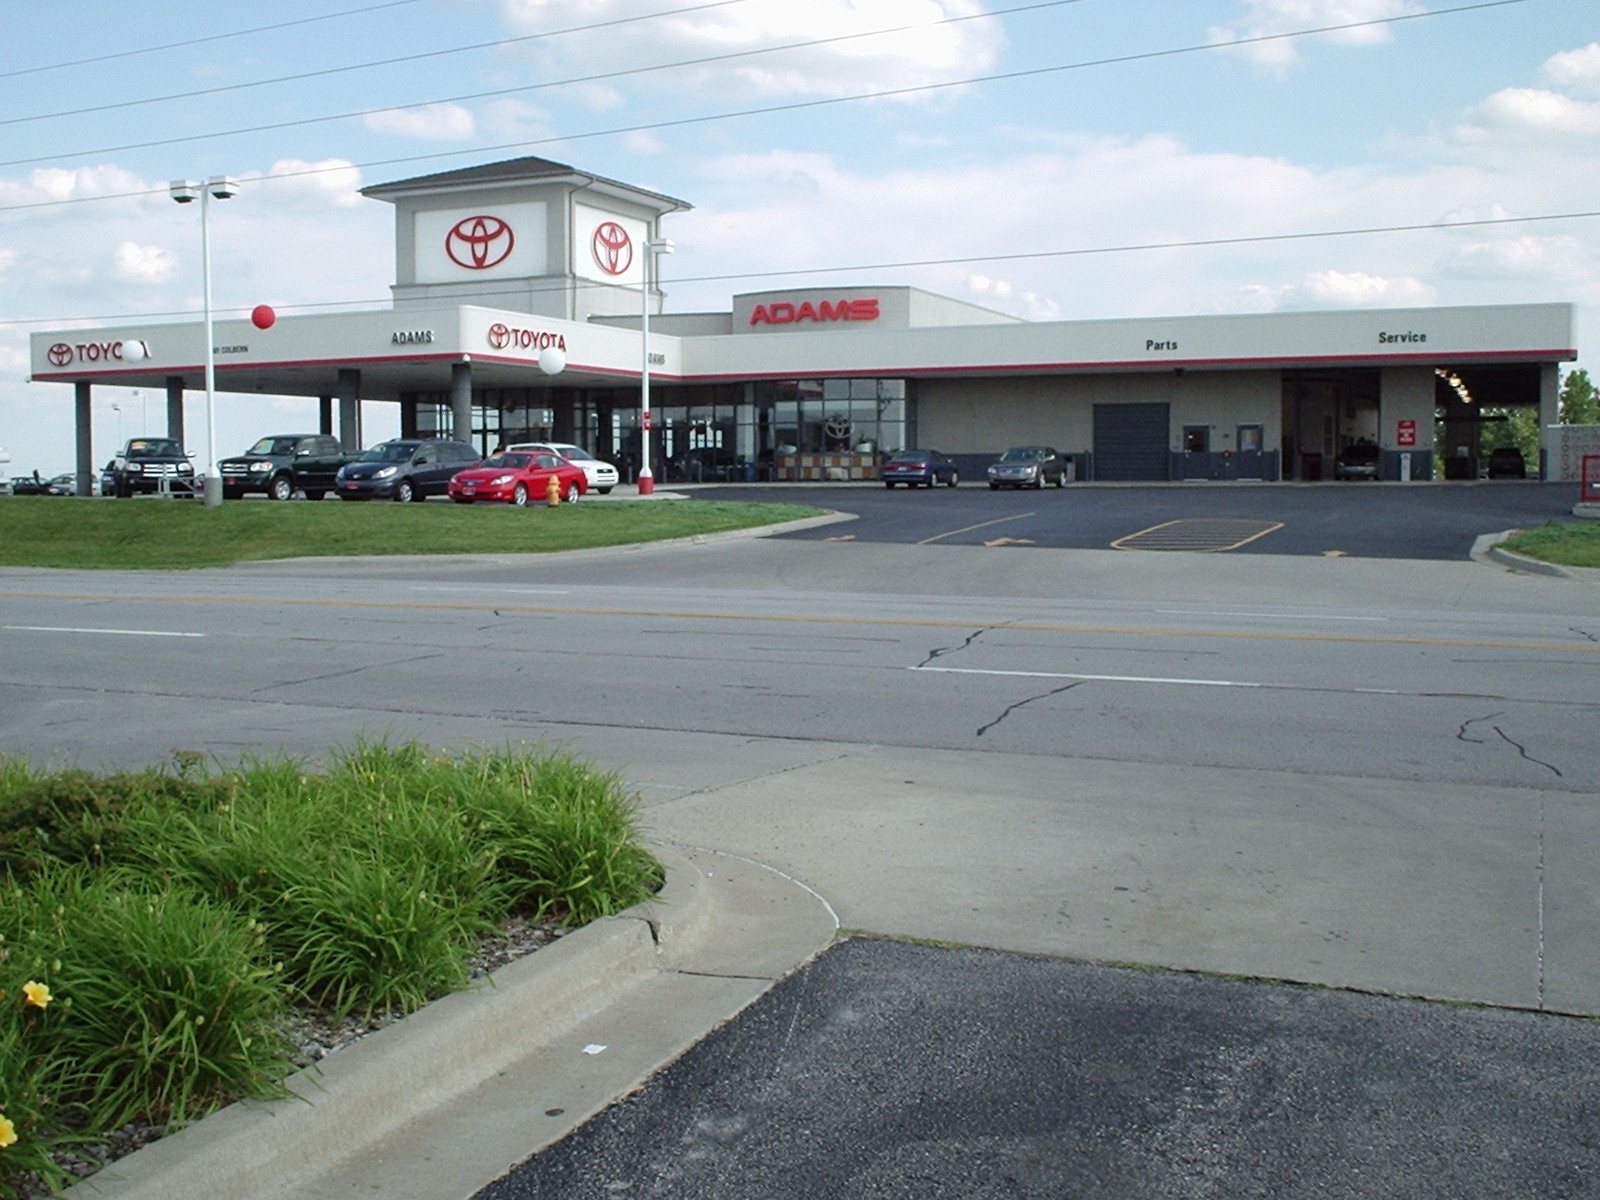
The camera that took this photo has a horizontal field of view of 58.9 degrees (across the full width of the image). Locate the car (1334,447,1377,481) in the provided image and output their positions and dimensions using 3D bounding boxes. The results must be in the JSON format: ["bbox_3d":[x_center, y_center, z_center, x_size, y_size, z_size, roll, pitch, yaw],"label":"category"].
[{"bbox_3d":[22.769,-5.494,57.597,1.815,1.274,2.852,0,1,21],"label":"car"}]

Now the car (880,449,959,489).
[{"bbox_3d":[4.682,-5.016,54.682,1.863,1.369,2.767,3,8,26],"label":"car"}]

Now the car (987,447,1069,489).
[{"bbox_3d":[8.563,-4.866,52.848,1.407,1.387,4.076,4,9,33],"label":"car"}]
